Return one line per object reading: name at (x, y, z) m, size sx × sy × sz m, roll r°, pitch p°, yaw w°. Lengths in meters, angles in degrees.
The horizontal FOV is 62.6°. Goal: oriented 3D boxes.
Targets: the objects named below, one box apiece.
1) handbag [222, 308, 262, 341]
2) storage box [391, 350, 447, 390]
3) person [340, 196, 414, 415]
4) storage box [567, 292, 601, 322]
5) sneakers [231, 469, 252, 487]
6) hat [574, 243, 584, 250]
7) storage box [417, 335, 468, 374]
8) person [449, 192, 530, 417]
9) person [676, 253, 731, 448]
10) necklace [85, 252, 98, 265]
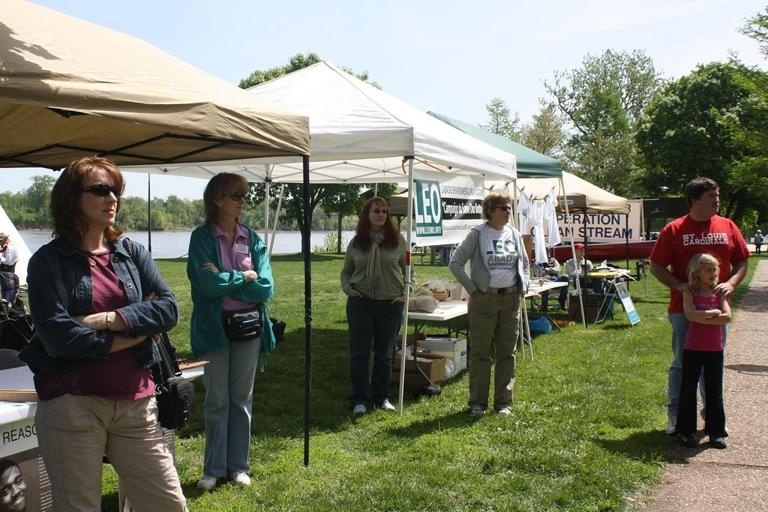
handbag at (-1.222, 0.563, 5.553) m, size 0.237 × 0.323 × 0.344 m, roll -1°, pitch -1°, yaw 38°
storage box at (0.493, 1.508, 8.434) m, size 0.564 × 0.323 × 0.604 m, roll 2°, pitch -2°, yaw 33°
person at (-0.110, 0.567, 7.440) m, size 0.763 × 2.495 × 0.463 m, roll -1°, pitch 6°, yaw -4°
storage box at (4.196, 1.076, 13.118) m, size 0.549 × 0.761 × 0.794 m, roll 0°, pitch 0°, yaw 12°
sneakers at (-1.259, 1.975, 5.620) m, size 0.097 × 0.073 × 0.179 m, roll 1°, pitch -6°, yaw -38°
hat at (4.766, -0.234, 15.332) m, size 0.288 × 0.175 × 0.503 m, roll -2°, pitch 0°, yaw 11°
storage box at (0.866, 1.347, 8.999) m, size 0.534 × 0.345 × 0.558 m, roll 0°, pitch 0°, yaw 31°
person at (1.229, 0.552, 7.354) m, size 0.911 × 2.536 × 0.477 m, roll -1°, pitch 6°, yaw -4°
person at (3.282, 0.954, 6.420) m, size 0.512 × 1.949 × 0.310 m, roll 1°, pitch 6°, yaw 11°
necklace at (-1.861, 0.018, 4.004) m, size 0.065 × 0.065 × 0.041 m, roll 1°, pitch -14°, yaw -19°
